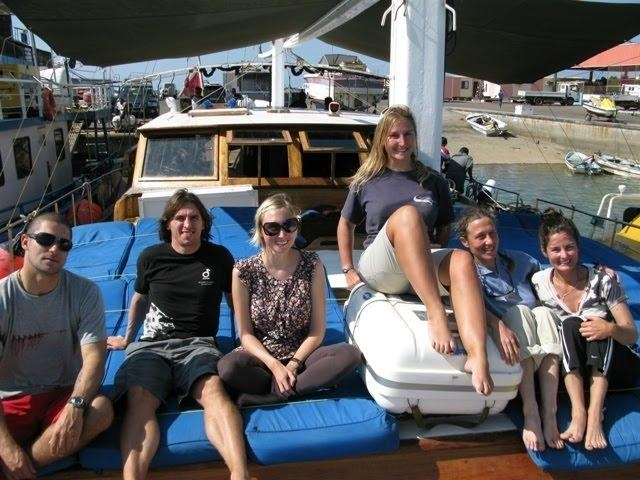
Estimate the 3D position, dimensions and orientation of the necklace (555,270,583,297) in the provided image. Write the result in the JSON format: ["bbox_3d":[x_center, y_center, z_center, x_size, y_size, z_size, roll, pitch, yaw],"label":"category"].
[{"bbox_3d":[1.657,0.290,2.996,0.109,0.163,0.058,6,12,20],"label":"necklace"}]

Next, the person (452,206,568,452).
[{"bbox_3d":[1.226,0.427,2.950,0.486,0.617,1.568,-8,51,-1],"label":"person"}]

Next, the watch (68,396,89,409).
[{"bbox_3d":[-1.287,0.854,2.381,0.079,0.053,0.079,22,-32,-29],"label":"watch"}]

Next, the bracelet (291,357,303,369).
[{"bbox_3d":[-0.139,0.750,2.767,0.072,0.074,0.048,6,1,17],"label":"bracelet"}]

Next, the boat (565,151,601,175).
[{"bbox_3d":[14.748,-4.237,25.074,1.210,0.870,2.299,1,27,3],"label":"boat"}]

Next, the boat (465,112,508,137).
[{"bbox_3d":[12.980,-9.164,35.576,1.585,1.064,3.887,-12,28,-7],"label":"boat"}]

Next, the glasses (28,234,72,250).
[{"bbox_3d":[-1.509,0.013,2.514,0.195,0.121,0.105,-10,16,-32],"label":"glasses"}]
